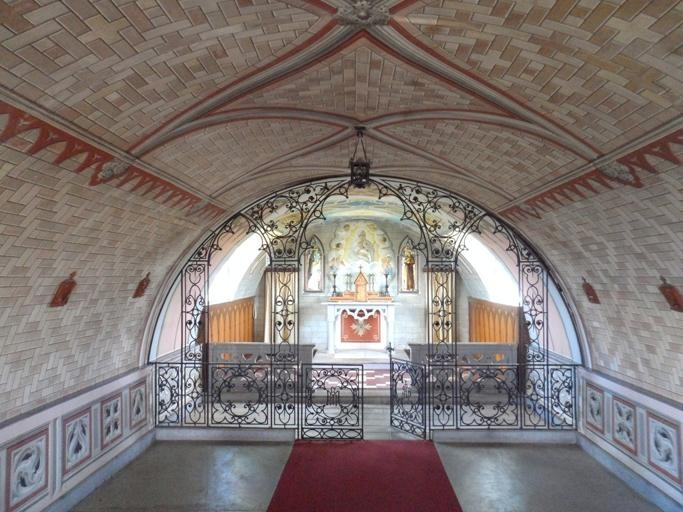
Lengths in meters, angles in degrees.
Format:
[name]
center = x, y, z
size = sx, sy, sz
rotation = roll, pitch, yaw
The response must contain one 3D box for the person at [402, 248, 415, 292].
[person]
center = 2.187, 0.462, 13.882
size = 0.386, 1.454, 0.520
rotation = 2, 4, 15
